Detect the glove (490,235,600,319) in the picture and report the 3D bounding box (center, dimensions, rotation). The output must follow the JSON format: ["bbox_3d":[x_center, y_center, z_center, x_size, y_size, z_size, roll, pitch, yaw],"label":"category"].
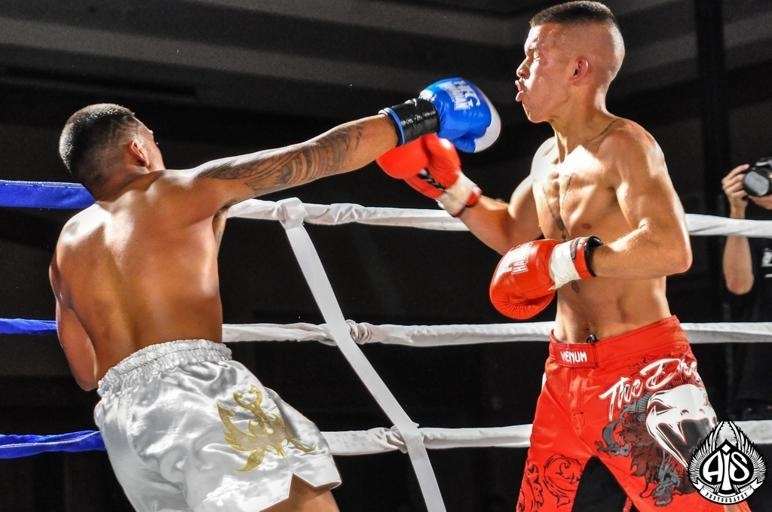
[{"bbox_3d":[0.671,0.113,3.906,0.472,0.293,0.194,-1,23,21],"label":"glove"}]

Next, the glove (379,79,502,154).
[{"bbox_3d":[0.260,-0.606,4.139,0.520,0.293,0.193,-22,-20,-39],"label":"glove"}]
